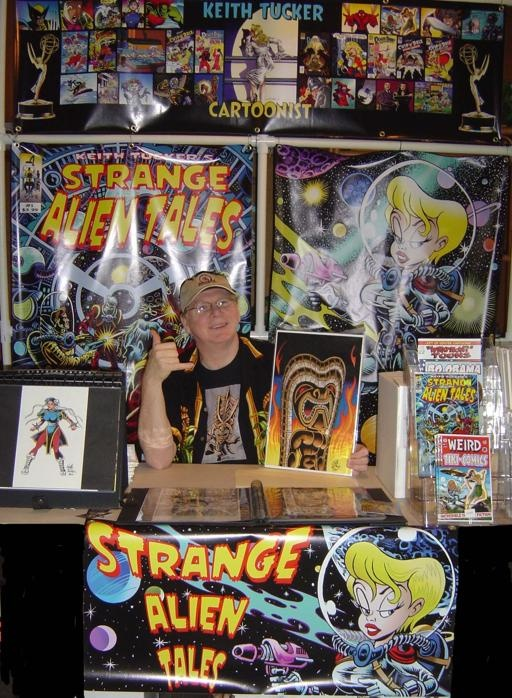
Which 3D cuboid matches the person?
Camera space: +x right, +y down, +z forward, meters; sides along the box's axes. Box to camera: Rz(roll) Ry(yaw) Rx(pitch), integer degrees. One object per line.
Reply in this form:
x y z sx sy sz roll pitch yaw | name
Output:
-0.039 0.075 1.864 0.561 1.081 0.364 -10 -24 -3 | person
